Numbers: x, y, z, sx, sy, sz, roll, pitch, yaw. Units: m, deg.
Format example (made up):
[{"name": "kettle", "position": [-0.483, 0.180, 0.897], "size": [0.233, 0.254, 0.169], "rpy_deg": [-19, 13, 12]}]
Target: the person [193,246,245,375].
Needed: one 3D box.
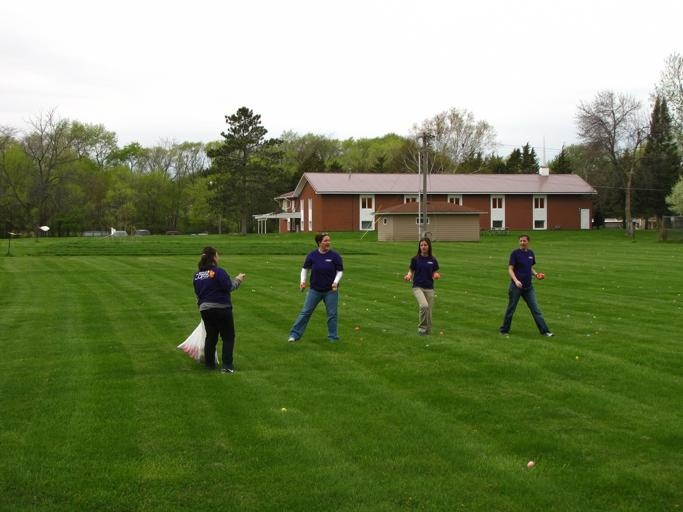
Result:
[{"name": "person", "position": [-2.218, 0.946, 9.837], "size": [0.789, 2.241, 0.937], "rpy_deg": [0, 5, -15]}]

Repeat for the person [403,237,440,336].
[{"name": "person", "position": [1.906, 0.721, 12.864], "size": [0.684, 2.267, 1.071], "rpy_deg": [2, 5, 10]}]
